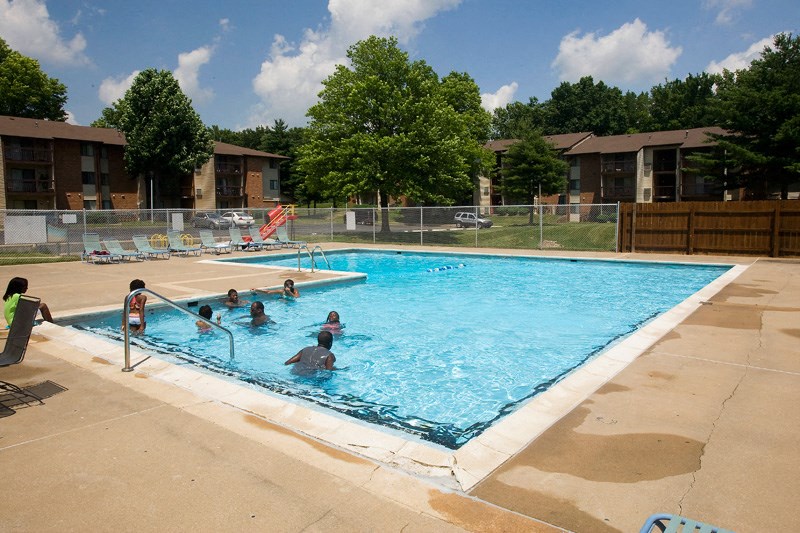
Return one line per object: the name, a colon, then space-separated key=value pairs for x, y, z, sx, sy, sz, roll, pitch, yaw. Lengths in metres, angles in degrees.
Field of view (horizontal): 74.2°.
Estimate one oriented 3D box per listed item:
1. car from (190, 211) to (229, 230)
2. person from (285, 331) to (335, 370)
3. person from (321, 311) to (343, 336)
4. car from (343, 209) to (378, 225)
car: x=-15.771 y=-3.791 z=44.224 sx=4.432 sy=1.213 sz=1.850 roll=2 pitch=5 yaw=36
person: x=-1.614 y=1.727 z=10.417 sx=1.041 sy=0.494 sz=0.769 roll=13 pitch=20 yaw=30
person: x=-1.658 y=1.376 z=12.859 sx=0.506 sy=0.520 sz=0.901 roll=-1 pitch=10 yaw=-6
car: x=-3.217 y=-4.411 z=47.096 sx=1.596 sy=1.517 sz=5.031 roll=-1 pitch=9 yaw=-7
